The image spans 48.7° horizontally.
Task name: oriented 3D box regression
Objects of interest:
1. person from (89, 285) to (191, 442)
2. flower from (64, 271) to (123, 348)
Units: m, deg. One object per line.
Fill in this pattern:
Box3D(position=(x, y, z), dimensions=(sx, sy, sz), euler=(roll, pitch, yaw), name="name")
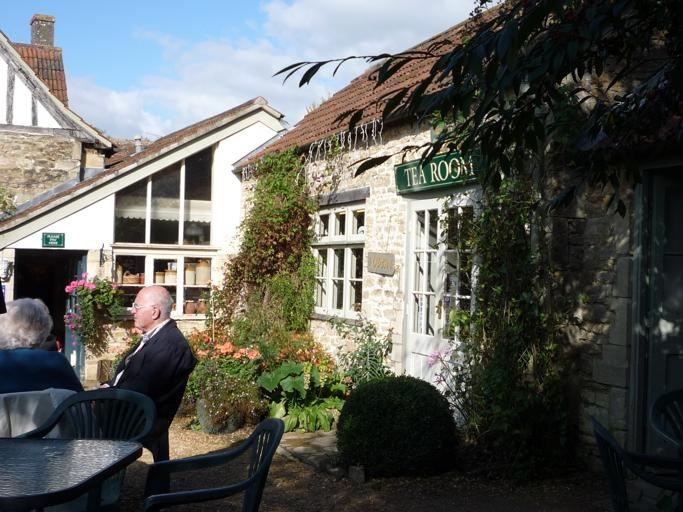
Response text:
Box3D(position=(-1.710, 1.272, 6.621), dimensions=(0.722, 2.038, 0.749), euler=(0, 9, -25), name="person")
Box3D(position=(-4.345, 0.987, 13.391), dimensions=(1.051, 1.664, 1.218), euler=(-4, 4, -31), name="flower")
